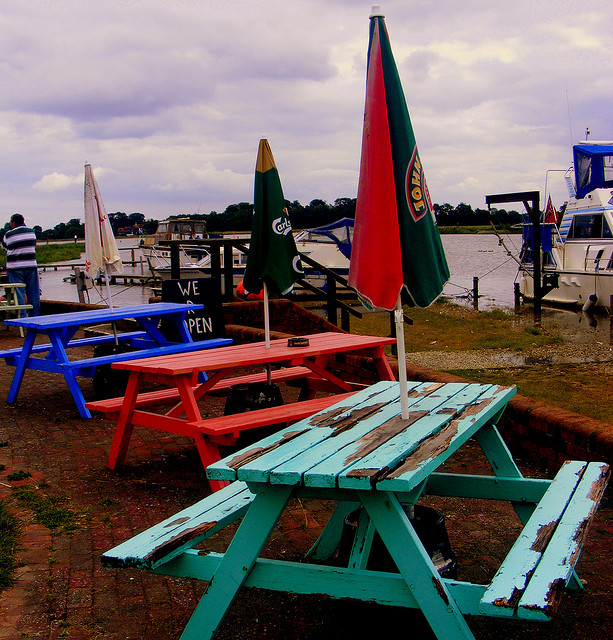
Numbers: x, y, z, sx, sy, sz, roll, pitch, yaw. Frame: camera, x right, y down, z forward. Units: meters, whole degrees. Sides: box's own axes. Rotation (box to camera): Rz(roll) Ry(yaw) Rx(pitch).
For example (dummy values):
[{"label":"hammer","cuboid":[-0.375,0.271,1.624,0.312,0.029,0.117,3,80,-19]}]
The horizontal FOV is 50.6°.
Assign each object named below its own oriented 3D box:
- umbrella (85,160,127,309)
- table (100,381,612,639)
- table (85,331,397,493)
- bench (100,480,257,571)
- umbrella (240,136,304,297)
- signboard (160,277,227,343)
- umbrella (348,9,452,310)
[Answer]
[{"label":"umbrella","cuboid":[-2.433,-1.131,7.504,0.387,1.647,0.425,-13,2,-14]},{"label":"table","cuboid":[0.256,0.953,3.223,1.407,0.993,2.454,2,4,39]},{"label":"table","cuboid":[-0.307,0.702,5.607,1.463,0.756,2.454,0,3,45]},{"label":"bench","cuboid":[-0.488,0.893,2.794,0.283,0.106,0.839,-8,2,29]},{"label":"umbrella","cuboid":[-0.380,-0.837,5.234,0.491,1.251,0.394,-12,2,0]},{"label":"signboard","cuboid":[-1.535,-0.170,8.287,0.704,0.829,0.706,14,18,41]},{"label":"umbrella","cuboid":[0.443,-0.669,2.996,0.513,1.243,0.424,8,22,39]}]
